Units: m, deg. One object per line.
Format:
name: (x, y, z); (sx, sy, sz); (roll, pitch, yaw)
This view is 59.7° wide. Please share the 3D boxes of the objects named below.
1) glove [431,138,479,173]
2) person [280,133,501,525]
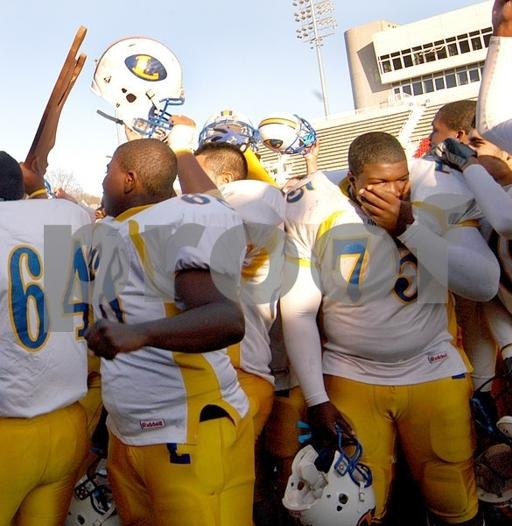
glove: (1.075, -0.592, 2.425); (0.229, 0.176, 0.097); (35, -6, 39)
person: (0.678, 0.345, 2.331); (1.081, 2.030, 0.625); (-4, 8, 3)
